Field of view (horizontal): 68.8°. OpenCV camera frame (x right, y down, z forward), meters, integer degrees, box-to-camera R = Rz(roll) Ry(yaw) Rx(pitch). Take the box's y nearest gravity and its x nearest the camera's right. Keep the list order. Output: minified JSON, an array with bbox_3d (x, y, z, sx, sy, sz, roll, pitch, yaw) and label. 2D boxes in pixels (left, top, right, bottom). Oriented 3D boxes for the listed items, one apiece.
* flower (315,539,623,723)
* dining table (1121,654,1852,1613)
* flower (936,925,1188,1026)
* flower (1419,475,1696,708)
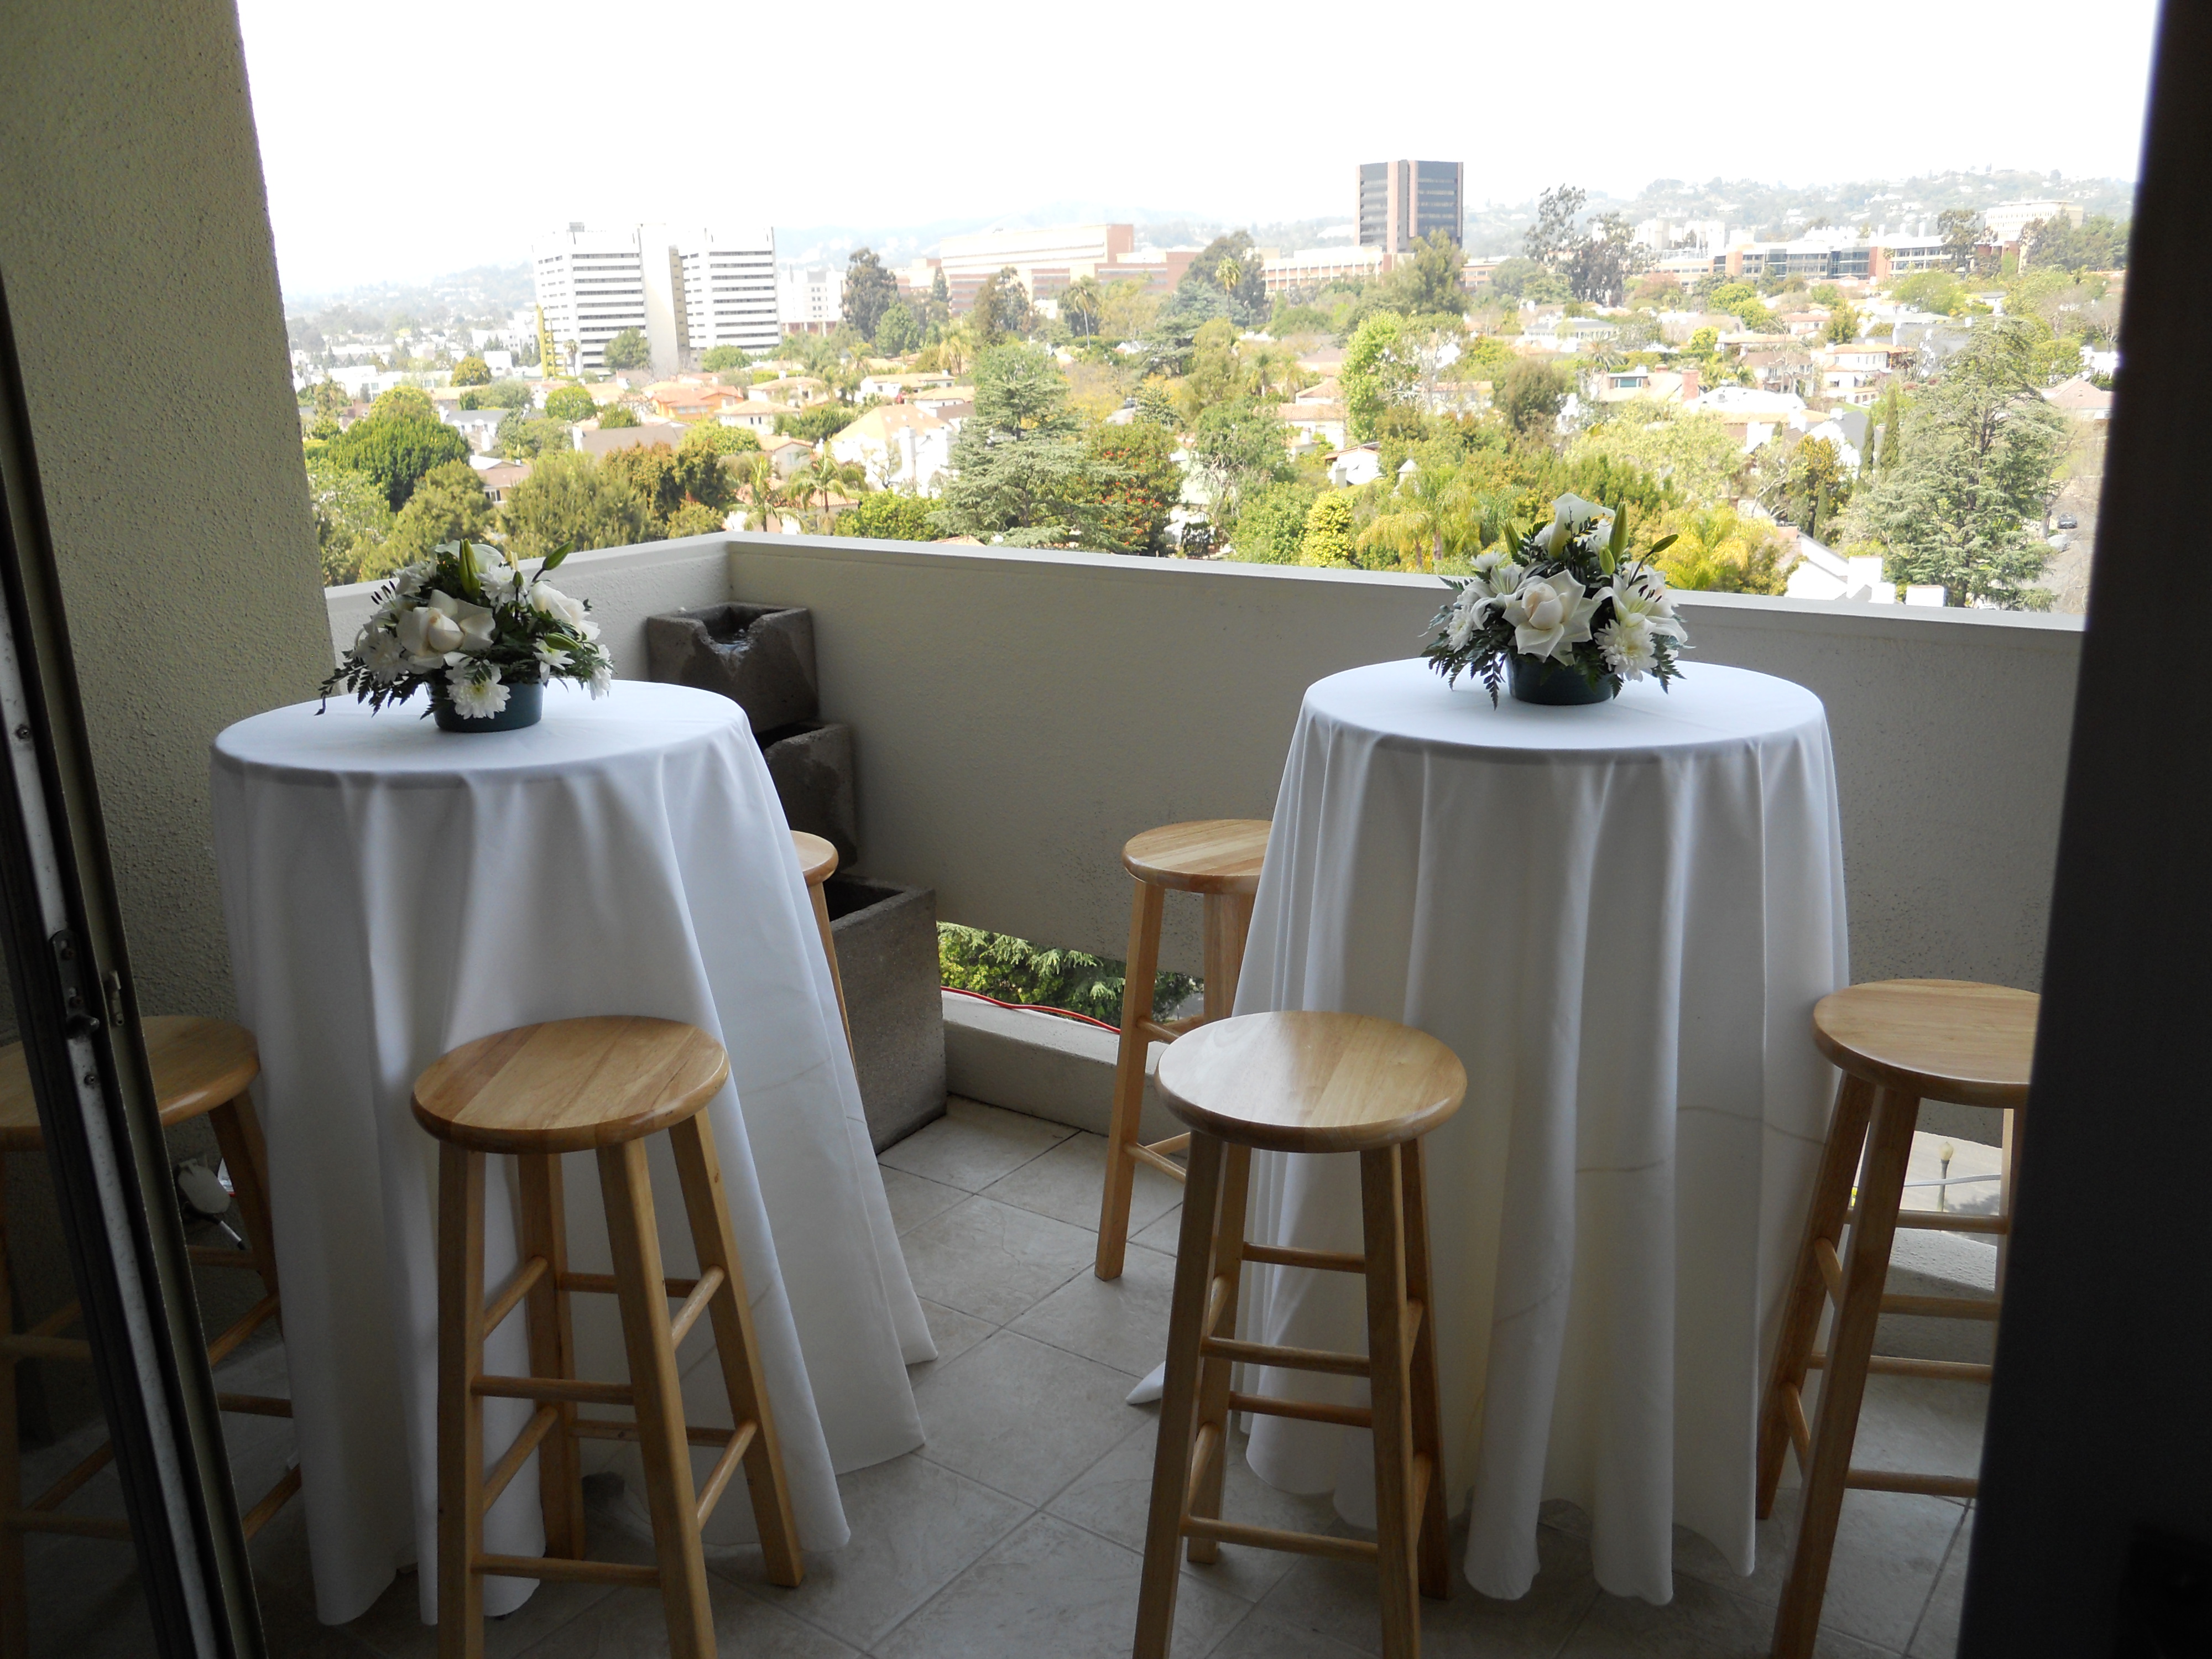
[{"bbox_3d":[-0.820,-0.251,2.086,0.278,0.233,0.318,-6,7,-17],"label":"flower"},{"bbox_3d":[0.427,0.266,2.380,0.897,1.273,0.943,11,24,30],"label":"dining table"},{"bbox_3d":[-0.374,1.101,15.474,2.074,0.844,1.119,5,5,39],"label":"flower"},{"bbox_3d":[0.577,-0.295,2.086,0.268,0.219,0.283,-4,18,-13],"label":"flower"}]
